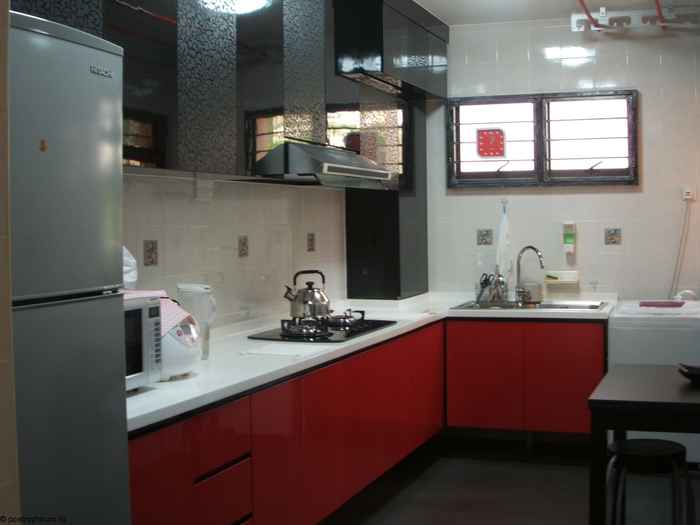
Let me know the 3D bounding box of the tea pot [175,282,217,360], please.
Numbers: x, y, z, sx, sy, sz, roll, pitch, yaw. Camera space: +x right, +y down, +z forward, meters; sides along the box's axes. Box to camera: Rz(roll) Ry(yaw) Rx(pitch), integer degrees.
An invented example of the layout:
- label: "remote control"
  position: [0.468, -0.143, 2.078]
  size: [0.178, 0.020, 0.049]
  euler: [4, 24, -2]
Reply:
- label: "tea pot"
  position: [-0.712, 0.280, 2.688]
  size: [0.185, 0.349, 0.122]
  euler: [3, 3, -11]

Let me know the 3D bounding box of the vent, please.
- label: "vent"
  position: [-0.061, -0.551, 3.269]
  size: [0.223, 0.237, 0.892]
  euler: [1, 3, 30]

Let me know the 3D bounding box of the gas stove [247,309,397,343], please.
- label: "gas stove"
  position: [-0.151, 0.367, 3.473]
  size: [0.538, 0.100, 0.932]
  euler: [-1, 0, 20]

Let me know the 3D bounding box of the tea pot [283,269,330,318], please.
- label: "tea pot"
  position: [-0.242, 0.206, 3.352]
  size: [0.205, 0.331, 0.235]
  euler: [6, 6, 27]

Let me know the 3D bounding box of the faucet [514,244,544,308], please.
- label: "faucet"
  position: [1.354, 0.128, 4.377]
  size: [0.222, 0.516, 0.258]
  euler: [4, 5, 19]

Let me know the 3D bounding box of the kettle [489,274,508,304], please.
- label: "kettle"
  position: [1.116, 0.197, 4.345]
  size: [0.123, 0.217, 0.128]
  euler: [0, 3, 11]

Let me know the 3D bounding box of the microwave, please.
- label: "microwave"
  position: [-0.734, 0.285, 2.119]
  size: [0.139, 0.341, 0.163]
  euler: [4, 7, -18]

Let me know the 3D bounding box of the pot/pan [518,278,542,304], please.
- label: "pot/pan"
  position: [1.324, 0.216, 4.271]
  size: [0.159, 0.149, 0.158]
  euler: [0, 2, 8]
